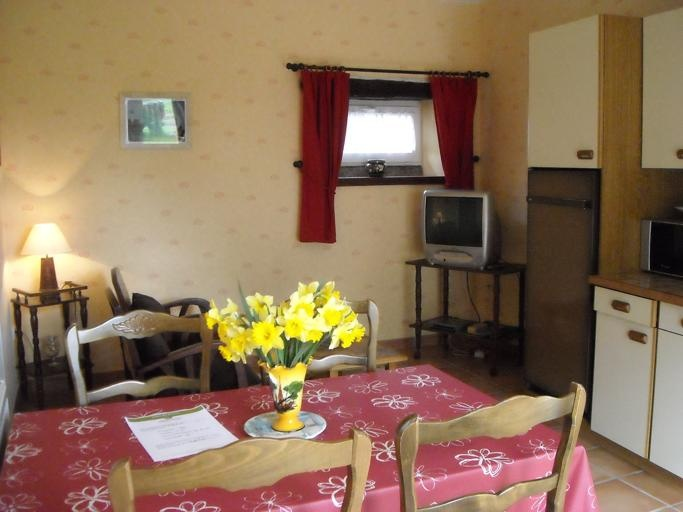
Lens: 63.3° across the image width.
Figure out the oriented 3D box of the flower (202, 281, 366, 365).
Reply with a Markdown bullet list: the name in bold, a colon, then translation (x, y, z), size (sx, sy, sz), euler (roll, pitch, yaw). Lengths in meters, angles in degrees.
- **flower**: translation (-0.184, 0.205, 2.013), size (0.434, 0.263, 0.352), euler (-1, 6, -15)

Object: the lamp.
- **lamp**: translation (-2.183, 0.038, 4.104), size (0.297, 0.562, 0.353), euler (-11, 16, -38)

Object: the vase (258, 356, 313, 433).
- **vase**: translation (-0.186, 0.503, 2.093), size (0.217, 0.255, 0.228), euler (3, 2, 7)

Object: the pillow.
- **pillow**: translation (-1.221, 0.473, 3.378), size (0.137, 0.451, 0.412), euler (-5, -9, 10)

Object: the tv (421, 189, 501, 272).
- **tv**: translation (1.005, -0.220, 4.959), size (0.620, 0.849, 0.851), euler (-6, 6, -43)

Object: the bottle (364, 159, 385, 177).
- **bottle**: translation (0.304, -0.798, 5.257), size (0.255, 0.218, 0.137), euler (1, 4, 0)

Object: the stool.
- **stool**: translation (0.184, 0.689, 3.495), size (0.679, 0.153, 0.426), euler (-2, 13, -11)

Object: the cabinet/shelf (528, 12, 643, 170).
- **cabinet/shelf**: translation (1.559, -1.021, 3.499), size (0.395, 1.089, 0.968), euler (-4, 9, -16)

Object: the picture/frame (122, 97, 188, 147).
- **picture/frame**: translation (-1.508, -1.080, 4.430), size (0.429, 0.308, 0.044), euler (-1, 4, -20)
